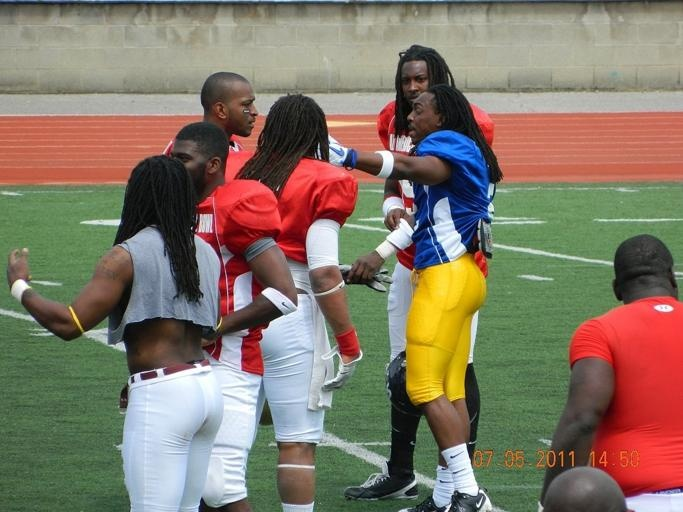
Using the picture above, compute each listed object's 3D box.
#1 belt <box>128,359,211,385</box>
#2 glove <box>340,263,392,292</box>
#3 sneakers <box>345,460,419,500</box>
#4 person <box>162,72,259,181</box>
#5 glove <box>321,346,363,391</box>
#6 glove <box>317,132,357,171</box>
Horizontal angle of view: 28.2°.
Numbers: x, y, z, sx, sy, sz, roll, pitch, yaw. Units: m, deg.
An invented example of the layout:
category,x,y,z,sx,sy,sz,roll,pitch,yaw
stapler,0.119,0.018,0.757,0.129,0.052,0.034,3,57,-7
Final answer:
category,x,y,z,sx,sy,sz,roll,pitch,yaw
belt,-1.080,0.731,8.509,0.503,0.159,0.111,-1,10,-11
glove,0.146,0.180,9.652,0.307,0.100,0.225,23,38,-30
sneakers,0.298,1.627,9.704,0.629,0.254,0.203,2,-5,-6
person,-0.940,-0.953,9.460,0.731,0.641,0.882,0,16,-4
glove,0.009,0.787,9.193,0.359,0.146,0.109,-22,21,-18
glove,-0.026,-0.722,9.382,0.193,0.231,0.103,-17,-11,-27
